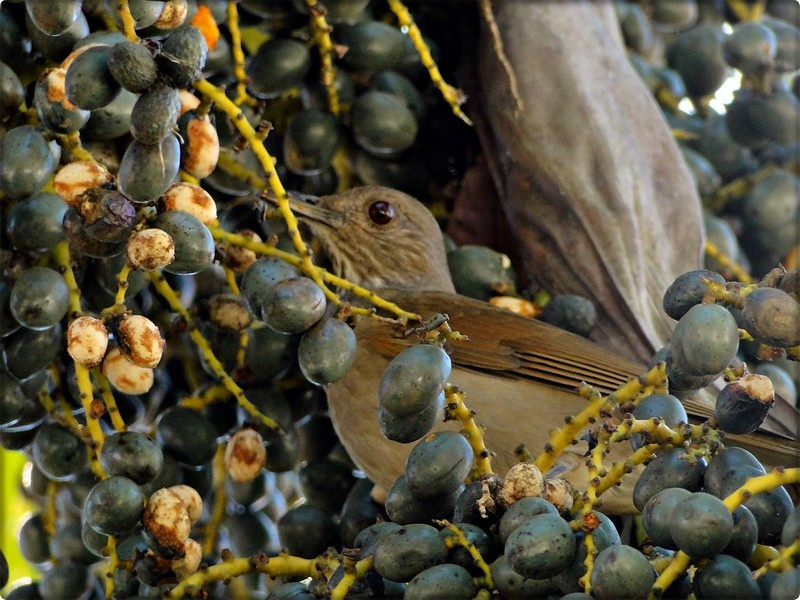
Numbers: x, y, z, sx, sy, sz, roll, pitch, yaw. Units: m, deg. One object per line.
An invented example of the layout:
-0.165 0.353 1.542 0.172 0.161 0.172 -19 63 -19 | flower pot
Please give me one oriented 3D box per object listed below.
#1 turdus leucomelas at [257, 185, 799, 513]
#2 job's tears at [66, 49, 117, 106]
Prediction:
0.287 0.086 2.335 0.957 0.684 0.319 3 -6 -4 | turdus leucomelas
-0.370 -0.266 1.827 0.051 0.043 0.075 18 66 0 | job's tears
